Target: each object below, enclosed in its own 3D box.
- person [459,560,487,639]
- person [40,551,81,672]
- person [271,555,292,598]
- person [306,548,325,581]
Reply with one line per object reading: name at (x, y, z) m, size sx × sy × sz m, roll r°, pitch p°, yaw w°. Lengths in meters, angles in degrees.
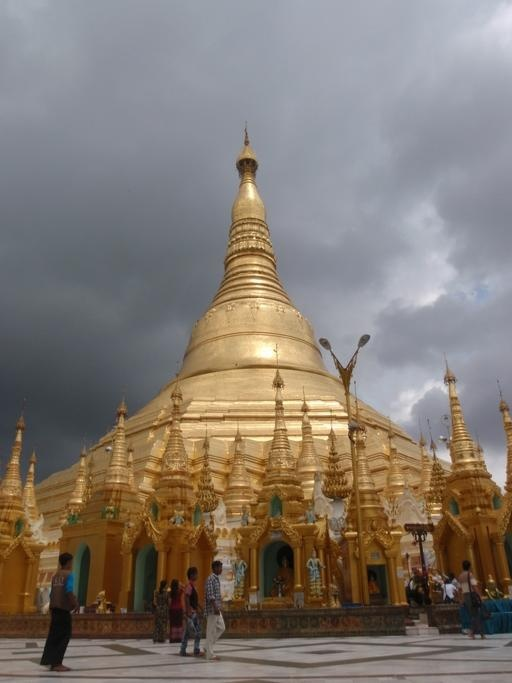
person at (3.304, 3.961, 7.703) m, size 0.290 × 1.036 × 1.245 m, roll -10°, pitch -27°, yaw 18°
person at (-1.686, 2.316, 4.347) m, size 0.229 × 0.911 × 1.153 m, roll 8°, pitch -27°, yaw -18°
person at (0.626, 5.802, 12.384) m, size 0.522 × 0.881 × 0.365 m, roll -8°, pitch -26°, yaw 14°
person at (1.307, 5.129, 11.427) m, size 0.346 × 0.705 × 0.766 m, roll -3°, pitch -25°, yaw 4°
